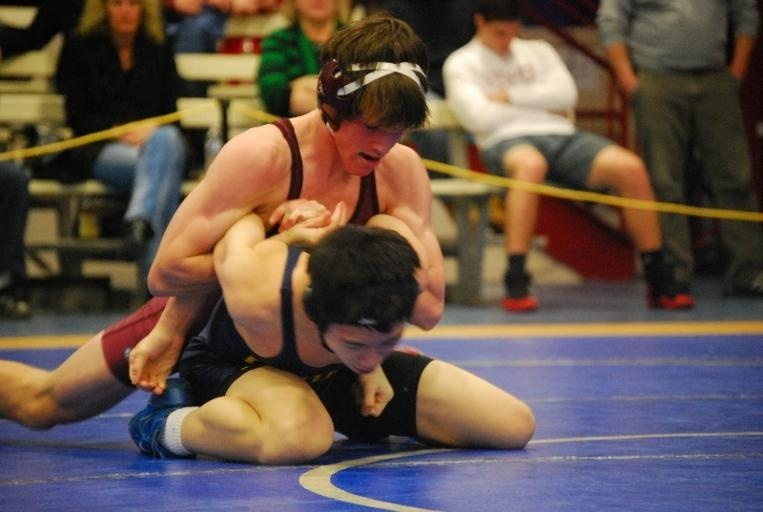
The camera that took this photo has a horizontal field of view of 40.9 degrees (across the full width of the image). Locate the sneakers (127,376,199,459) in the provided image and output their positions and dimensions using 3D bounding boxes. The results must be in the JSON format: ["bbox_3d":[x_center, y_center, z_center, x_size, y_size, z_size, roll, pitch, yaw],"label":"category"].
[{"bbox_3d":[-0.706,0.512,3.233,0.264,0.111,0.182,-21,39,7],"label":"sneakers"}]

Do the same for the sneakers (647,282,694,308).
[{"bbox_3d":[1.450,0.216,5.144,0.083,0.081,0.211,-2,-3,-29],"label":"sneakers"}]

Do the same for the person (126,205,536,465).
[{"bbox_3d":[-0.274,0.295,3.378,1.282,0.725,0.890,-1,4,-27],"label":"person"}]

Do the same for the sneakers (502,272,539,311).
[{"bbox_3d":[0.731,0.177,5.485,0.219,0.209,0.222,0,6,30],"label":"sneakers"}]
